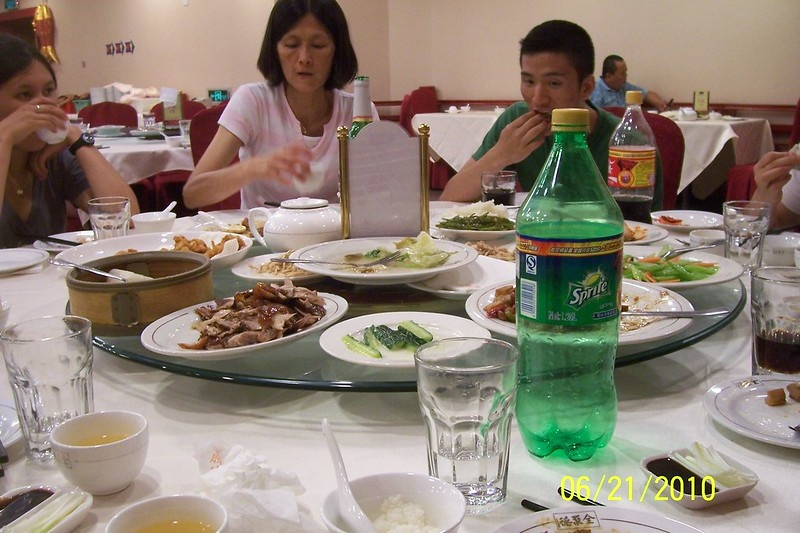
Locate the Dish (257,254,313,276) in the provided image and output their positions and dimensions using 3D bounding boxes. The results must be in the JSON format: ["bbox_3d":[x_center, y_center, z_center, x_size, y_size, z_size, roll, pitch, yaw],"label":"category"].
[{"bbox_3d":[-0.303,-0.013,1.423,0.080,0.014,0.080,9,16,16],"label":"Dish"}]

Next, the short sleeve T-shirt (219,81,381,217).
[{"bbox_3d":[-0.500,-0.545,2.878,0.857,0.785,0.480,-3,18,-13],"label":"short sleeve T-shirt"}]

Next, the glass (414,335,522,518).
[{"bbox_3d":[0.098,0.220,0.790,0.144,0.213,0.118,-2,18,-2],"label":"glass"}]

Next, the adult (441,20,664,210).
[{"bbox_3d":[0.790,-0.491,2.886,1.099,1.343,0.602,1,13,7],"label":"adult"}]

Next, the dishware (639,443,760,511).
[{"bbox_3d":[0.424,0.269,0.773,0.094,0.037,0.096,-9,11,-34],"label":"dishware"}]

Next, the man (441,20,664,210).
[{"bbox_3d":[0.795,-0.475,2.880,1.107,1.356,0.623,4,13,15],"label":"man"}]

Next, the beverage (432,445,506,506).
[{"bbox_3d":[0.114,0.286,0.803,0.084,0.059,0.084,4,-13,-10],"label":"beverage"}]

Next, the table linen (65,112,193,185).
[{"bbox_3d":[-2.154,-0.914,4.429,0.679,0.151,0.687,20,24,33],"label":"table linen"}]

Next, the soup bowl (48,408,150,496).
[{"bbox_3d":[-0.448,0.281,0.832,0.125,0.088,0.127,6,10,-1],"label":"soup bowl"}]

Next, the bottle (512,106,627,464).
[{"bbox_3d":[0.268,0.022,0.866,0.172,0.514,0.217,4,19,17],"label":"bottle"}]

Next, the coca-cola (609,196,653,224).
[{"bbox_3d":[0.822,-0.197,1.931,0.119,0.130,0.124,-4,4,-18],"label":"coca-cola"}]
